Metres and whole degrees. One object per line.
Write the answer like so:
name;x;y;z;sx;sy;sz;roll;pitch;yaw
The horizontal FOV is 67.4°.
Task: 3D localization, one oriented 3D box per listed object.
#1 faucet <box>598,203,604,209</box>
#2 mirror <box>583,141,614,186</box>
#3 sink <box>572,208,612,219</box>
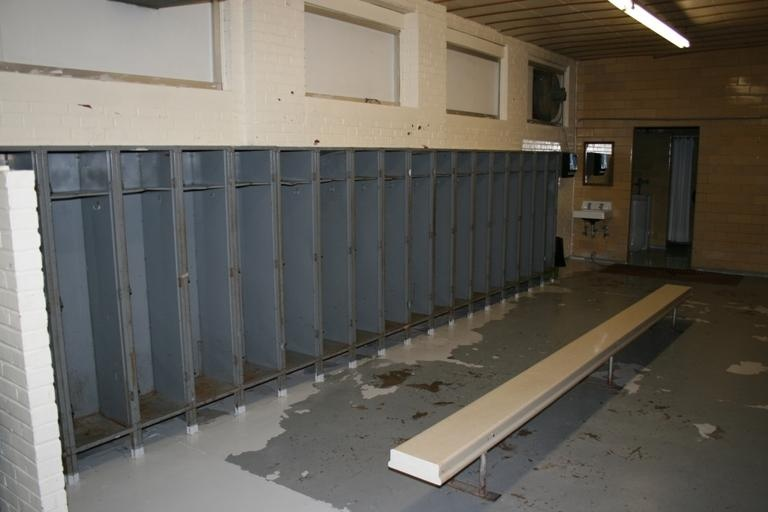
faucet;4.197;-0.990;11.142;0.121;0.077;0.064;7;13;38
mirror;4.175;-1.819;11.218;0.543;0.820;0.192;4;15;23
sink;4.037;-0.825;11.274;0.726;0.284;0.318;8;16;36
